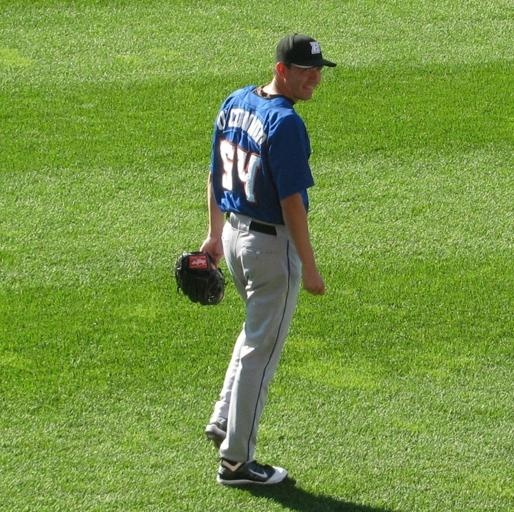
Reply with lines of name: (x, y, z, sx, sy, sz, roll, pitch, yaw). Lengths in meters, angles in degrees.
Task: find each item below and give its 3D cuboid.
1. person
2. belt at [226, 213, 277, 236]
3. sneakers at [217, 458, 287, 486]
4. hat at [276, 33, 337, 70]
person: (0.048, 0.027, 7.160, 0.732, 2.737, 0.711, 3, 15, -4)
belt: (-0.006, -0.175, 7.033, 0.176, 0.045, 0.163, 18, 4, -26)
sneakers: (-0.025, 1.356, 7.268, 0.437, 0.219, 0.164, -1, 10, -6)
hat: (0.311, -1.248, 7.037, 0.377, 0.206, 0.275, 11, 12, 31)
